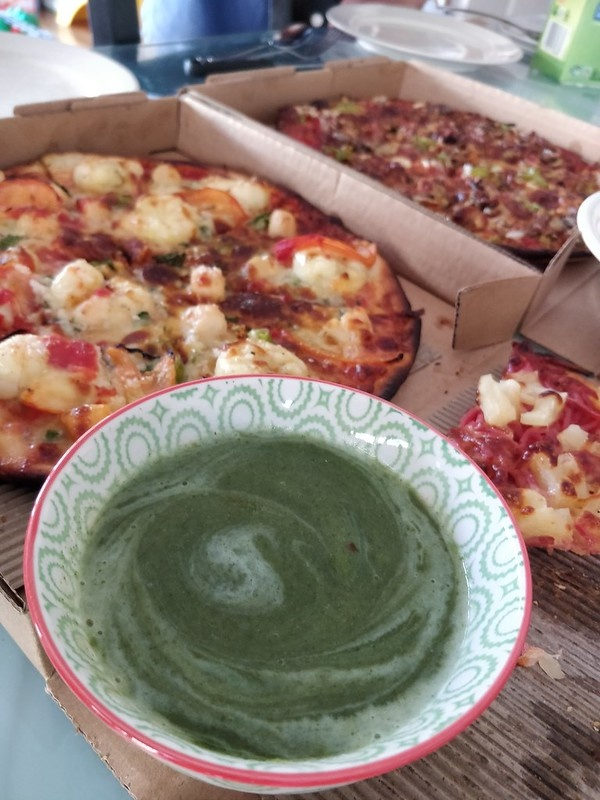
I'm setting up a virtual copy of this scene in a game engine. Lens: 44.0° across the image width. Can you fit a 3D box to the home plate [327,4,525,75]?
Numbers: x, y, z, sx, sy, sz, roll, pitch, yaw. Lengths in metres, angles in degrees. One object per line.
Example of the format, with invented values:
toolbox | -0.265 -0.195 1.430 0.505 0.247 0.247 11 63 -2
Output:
home plate | 0.421 -1.279 2.590 0.497 0.060 0.429 7 41 -11
